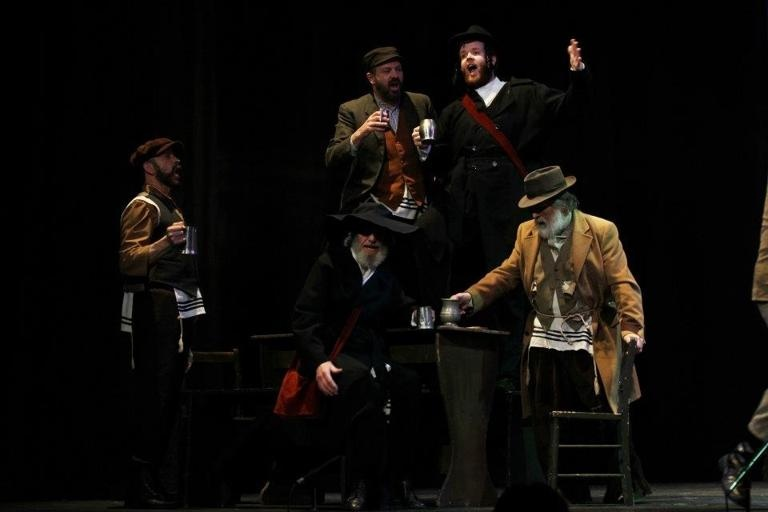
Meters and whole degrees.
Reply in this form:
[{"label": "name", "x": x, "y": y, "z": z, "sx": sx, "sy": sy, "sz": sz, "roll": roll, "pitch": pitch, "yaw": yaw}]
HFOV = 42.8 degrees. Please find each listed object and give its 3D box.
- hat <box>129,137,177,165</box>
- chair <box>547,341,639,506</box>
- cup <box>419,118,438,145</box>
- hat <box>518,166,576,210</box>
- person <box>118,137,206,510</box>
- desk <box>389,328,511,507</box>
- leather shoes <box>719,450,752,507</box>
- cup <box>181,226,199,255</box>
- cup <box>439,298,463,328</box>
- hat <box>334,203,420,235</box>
[{"label": "hat", "x": -2.245, "y": -1.018, "z": 9.469, "sx": 0.378, "sy": 0.112, "sz": 0.298, "roll": -24, "pitch": -1, "yaw": -1}, {"label": "chair", "x": 1.726, "y": 1.371, "z": 8.120, "sx": 0.794, "sy": 1.312, "sz": 0.729, "roll": 0, "pitch": -8, "yaw": 1}, {"label": "cup", "x": 0.398, "y": -1.120, "z": 8.781, "sx": 0.176, "sy": 0.231, "sz": 0.191, "roll": 1, "pitch": -10, "yaw": 0}, {"label": "hat", "x": 1.381, "y": -0.610, "z": 8.423, "sx": 0.420, "sy": 0.161, "sz": 0.378, "roll": -25, "pitch": 18, "yaw": 6}, {"label": "person", "x": -2.090, "y": 0.536, "z": 9.063, "sx": 0.799, "sy": 3.433, "sz": 0.661, "roll": -3, "pitch": -9, "yaw": 19}, {"label": "desk", "x": 0.590, "y": 1.329, "z": 8.289, "sx": 0.546, "sy": 1.463, "sz": 0.880, "roll": 4, "pitch": -9, "yaw": -25}, {"label": "leather shoes", "x": 2.815, "y": 1.757, "z": 7.766, "sx": 0.261, "sy": 0.463, "sz": 0.263, "roll": -3, "pitch": -8, "yaw": 19}, {"label": "cup", "x": -1.756, "y": -0.154, "z": 8.829, "sx": 0.110, "sy": 0.244, "sz": 0.173, "roll": 3, "pitch": -9, "yaw": -24}, {"label": "cup", "x": 0.564, "y": 0.465, "z": 8.206, "sx": 0.173, "sy": 0.229, "sz": 0.163, "roll": 0, "pitch": -8, "yaw": 0}, {"label": "hat", "x": -0.084, "y": -0.373, "z": 8.762, "sx": 0.661, "sy": 0.217, "sz": 0.706, "roll": 6, "pitch": 2, "yaw": 18}]
